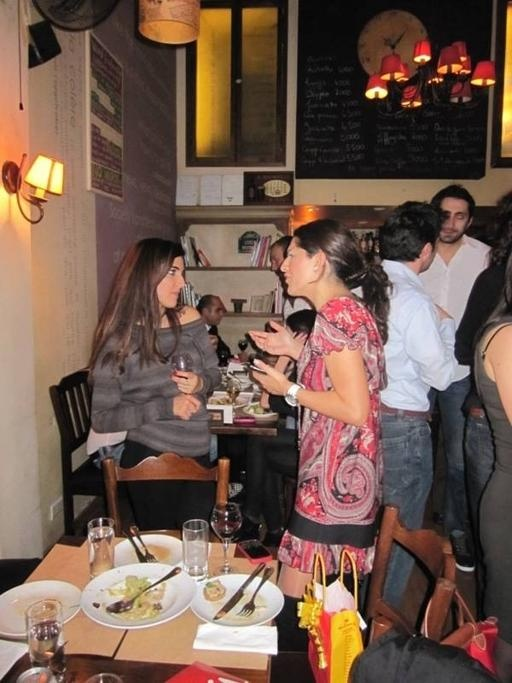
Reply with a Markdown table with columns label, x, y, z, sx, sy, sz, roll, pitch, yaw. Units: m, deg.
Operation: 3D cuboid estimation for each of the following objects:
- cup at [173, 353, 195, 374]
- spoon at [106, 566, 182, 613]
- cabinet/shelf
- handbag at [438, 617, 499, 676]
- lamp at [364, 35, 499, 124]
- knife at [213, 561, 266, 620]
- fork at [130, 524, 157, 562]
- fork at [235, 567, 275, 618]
| label | x | y | z | sx | sy | sz | roll | pitch | yaw |
| --- | --- | --- | --- | --- | --- | --- | --- | --- | --- |
| cup | -0.243 | 0.070 | 1.858 | 0.059 | 0.069 | 0.065 | 1 | 11 | 7 |
| spoon | -0.227 | 0.493 | 1.131 | 0.040 | 0.025 | 0.191 | 16 | 5 | 25 |
| cabinet/shelf | -0.177 | -0.685 | 4.532 | 1.208 | 1.041 | 0.390 | 0 | 4 | 6 |
| handbag | 0.351 | 0.493 | 0.906 | 0.060 | 0.089 | 0.110 | 5 | 8 | 36 |
| lamp | 1.355 | -1.980 | 4.208 | 0.889 | 0.409 | 0.951 | -1 | 3 | 41 |
| knife | -0.042 | 0.500 | 1.121 | 0.029 | 0.010 | 0.193 | -5 | 9 | 20 |
| fork | -0.279 | 0.477 | 1.401 | 0.029 | 0.026 | 0.240 | -5 | 8 | -16 |
| fork | -0.010 | 0.497 | 1.122 | 0.023 | 0.018 | 0.154 | 3 | 14 | 15 |
